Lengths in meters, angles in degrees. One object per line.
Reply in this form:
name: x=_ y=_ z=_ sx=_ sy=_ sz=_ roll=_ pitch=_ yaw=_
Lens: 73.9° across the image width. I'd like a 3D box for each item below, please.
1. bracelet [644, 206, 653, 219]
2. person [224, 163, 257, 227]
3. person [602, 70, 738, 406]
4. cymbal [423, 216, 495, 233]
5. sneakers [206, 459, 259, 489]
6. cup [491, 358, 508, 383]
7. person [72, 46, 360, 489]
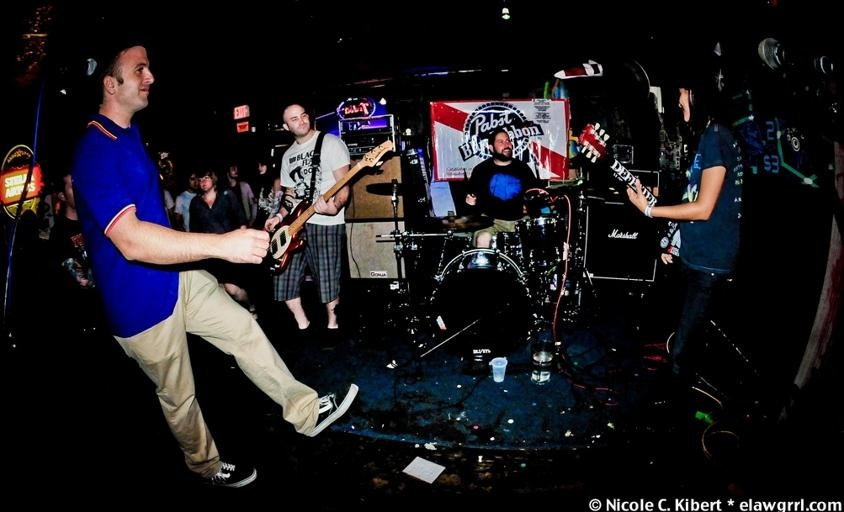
bracelet: x=2.264 y=-0.434 z=5.570 sx=0.050 sy=0.121 sz=0.109 roll=-3 pitch=1 yaw=-38
person: x=-3.152 y=-1.090 z=9.887 sx=0.899 sy=1.099 sz=0.411 roll=-3 pitch=-2 yaw=37
person: x=2.696 y=-0.085 z=5.608 sx=0.876 sy=3.169 sz=0.567 roll=-8 pitch=17 yaw=-16
cymbal: x=0.446 y=-0.367 z=6.807 sx=0.845 sy=0.246 sz=0.326 roll=-3 pitch=15 yaw=-4
sneakers: x=-1.703 y=2.000 z=5.236 sx=0.545 sy=0.208 sz=0.193 roll=-6 pitch=24 yaw=-4
cup: x=0.834 y=1.281 z=6.309 sx=0.245 sy=0.235 sz=0.219 roll=-3 pitch=2 yaw=-13
person: x=-2.047 y=0.233 z=4.888 sx=1.551 sy=3.817 sz=0.840 roll=4 pitch=18 yaw=23
